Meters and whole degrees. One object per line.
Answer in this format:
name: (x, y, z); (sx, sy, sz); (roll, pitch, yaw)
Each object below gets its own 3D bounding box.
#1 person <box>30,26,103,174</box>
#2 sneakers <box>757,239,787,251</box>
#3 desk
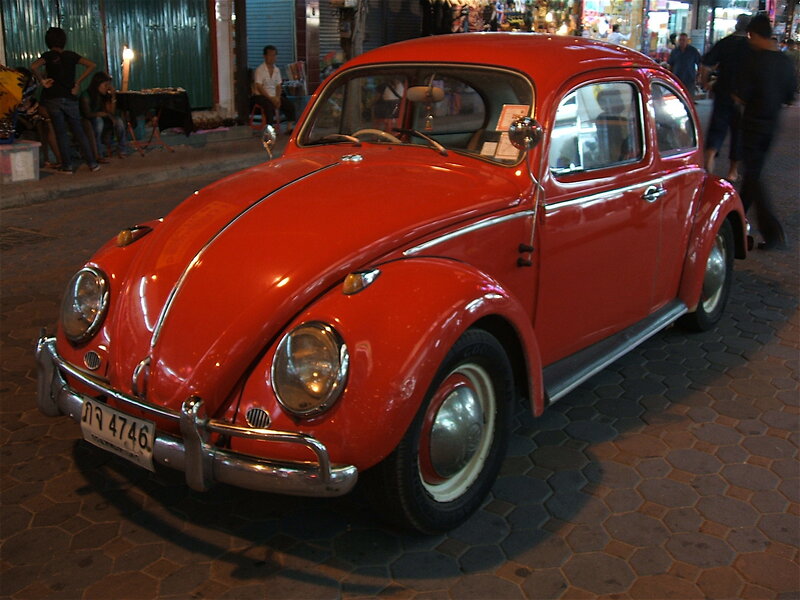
person: (-6.465, -3.943, 10.190); (0.996, 2.564, 0.750); (-1, 10, -9)
sneakers: (5.146, -0.762, 7.125); (0.314, 0.078, 0.221); (-9, 4, -43)
desk: (-5.955, -4.305, 12.349); (1.437, 1.068, 1.534); (13, 13, 42)
